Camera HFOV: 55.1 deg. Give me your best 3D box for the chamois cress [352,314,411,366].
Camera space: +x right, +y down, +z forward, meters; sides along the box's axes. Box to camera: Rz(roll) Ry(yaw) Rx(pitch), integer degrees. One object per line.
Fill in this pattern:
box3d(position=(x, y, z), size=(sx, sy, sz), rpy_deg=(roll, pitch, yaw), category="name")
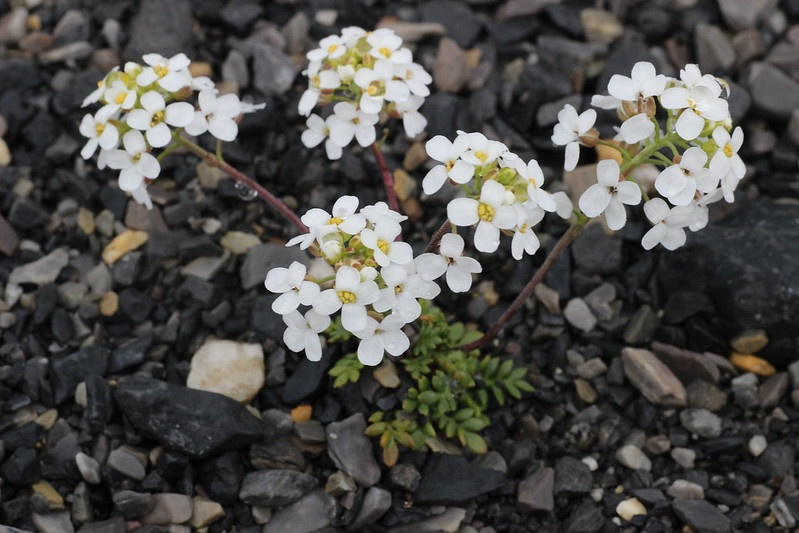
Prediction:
box3d(position=(-0.181, 0.680, 7.437), size=(0.500, 0.321, 0.404), rpy_deg=(-17, 67, -3), category="chamois cress")
